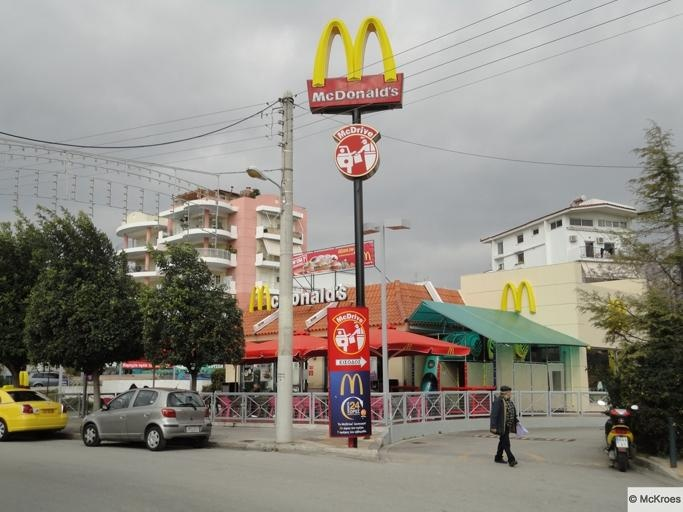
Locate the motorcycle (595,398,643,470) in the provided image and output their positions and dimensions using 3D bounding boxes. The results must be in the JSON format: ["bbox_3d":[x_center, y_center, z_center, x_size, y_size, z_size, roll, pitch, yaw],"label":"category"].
[{"bbox_3d":[7.609,4.909,20.694,0.947,1.856,2.215,-5,-12,17],"label":"motorcycle"}]

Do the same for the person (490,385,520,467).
[{"bbox_3d":[4.568,4.768,21.163,0.718,2.160,1.410,-3,-12,12],"label":"person"}]
